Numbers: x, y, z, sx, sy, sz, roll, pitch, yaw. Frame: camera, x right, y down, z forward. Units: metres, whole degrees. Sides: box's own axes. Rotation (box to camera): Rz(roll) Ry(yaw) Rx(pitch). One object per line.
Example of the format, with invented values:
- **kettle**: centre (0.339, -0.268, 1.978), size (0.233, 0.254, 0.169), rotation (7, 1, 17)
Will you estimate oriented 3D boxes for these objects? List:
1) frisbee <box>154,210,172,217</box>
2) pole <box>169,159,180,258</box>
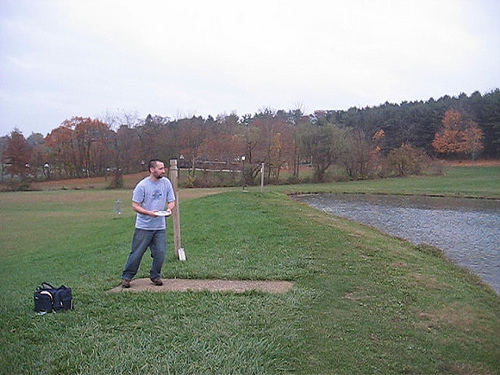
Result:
- **frisbee**: centre (-2.367, 0.711, 10.407), size (0.415, 0.175, 0.652), rotation (-1, 3, -11)
- **pole**: centre (-2.424, 0.602, 12.740), size (0.347, 3.675, 0.395), rotation (0, 5, -31)
